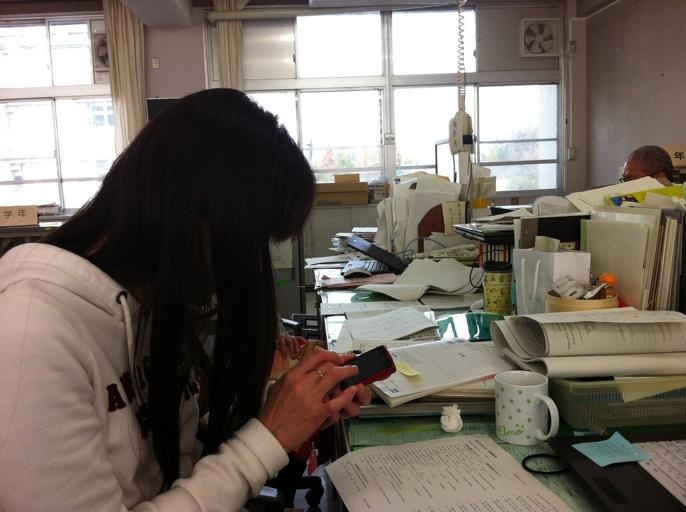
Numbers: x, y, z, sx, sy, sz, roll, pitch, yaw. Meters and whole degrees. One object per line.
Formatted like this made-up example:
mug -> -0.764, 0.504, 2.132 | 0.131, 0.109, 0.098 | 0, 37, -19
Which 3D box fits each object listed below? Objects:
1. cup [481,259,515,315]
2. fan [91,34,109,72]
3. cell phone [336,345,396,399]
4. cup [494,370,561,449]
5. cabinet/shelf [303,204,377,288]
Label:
cup -> 0.523, 0.115, 1.795 | 0.098, 0.165, 0.095 | -2, 6, 0
fan -> -2.954, -2.508, 6.413 | 0.209, 0.380, 0.271 | -5, 21, -23
cell phone -> 0.048, 0.235, 1.087 | 0.117, 0.028, 0.065 | -20, 42, -8
cup -> 0.379, 0.314, 1.042 | 0.093, 0.114, 0.154 | 0, -7, -8
cabinet/shelf -> -0.046, -0.071, 3.423 | 0.673, 0.635, 0.218 | -1, 0, -13
